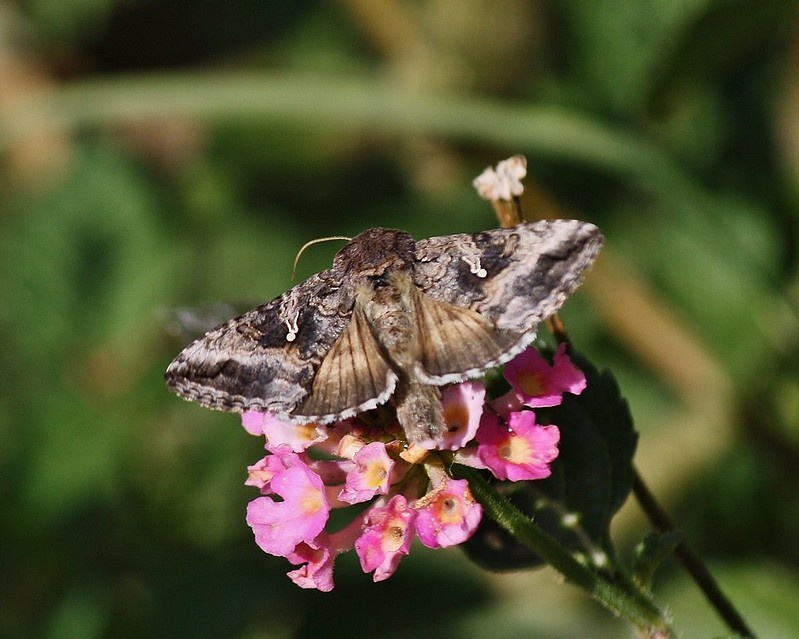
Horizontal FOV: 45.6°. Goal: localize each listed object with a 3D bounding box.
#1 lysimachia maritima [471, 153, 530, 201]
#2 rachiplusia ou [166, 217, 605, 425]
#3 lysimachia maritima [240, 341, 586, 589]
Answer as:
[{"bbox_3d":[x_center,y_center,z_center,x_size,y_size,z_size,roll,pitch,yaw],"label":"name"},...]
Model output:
[{"bbox_3d":[0.312,-0.453,3.111,0.163,0.208,0.160,4,99,-20],"label":"lysimachia maritima"},{"bbox_3d":[-0.028,-0.026,2.999,1.358,0.197,0.630,-14,65,18],"label":"rachiplusia ou"},{"bbox_3d":[0.021,0.439,3.054,0.794,1.242,0.864,1,96,-3],"label":"lysimachia maritima"}]
